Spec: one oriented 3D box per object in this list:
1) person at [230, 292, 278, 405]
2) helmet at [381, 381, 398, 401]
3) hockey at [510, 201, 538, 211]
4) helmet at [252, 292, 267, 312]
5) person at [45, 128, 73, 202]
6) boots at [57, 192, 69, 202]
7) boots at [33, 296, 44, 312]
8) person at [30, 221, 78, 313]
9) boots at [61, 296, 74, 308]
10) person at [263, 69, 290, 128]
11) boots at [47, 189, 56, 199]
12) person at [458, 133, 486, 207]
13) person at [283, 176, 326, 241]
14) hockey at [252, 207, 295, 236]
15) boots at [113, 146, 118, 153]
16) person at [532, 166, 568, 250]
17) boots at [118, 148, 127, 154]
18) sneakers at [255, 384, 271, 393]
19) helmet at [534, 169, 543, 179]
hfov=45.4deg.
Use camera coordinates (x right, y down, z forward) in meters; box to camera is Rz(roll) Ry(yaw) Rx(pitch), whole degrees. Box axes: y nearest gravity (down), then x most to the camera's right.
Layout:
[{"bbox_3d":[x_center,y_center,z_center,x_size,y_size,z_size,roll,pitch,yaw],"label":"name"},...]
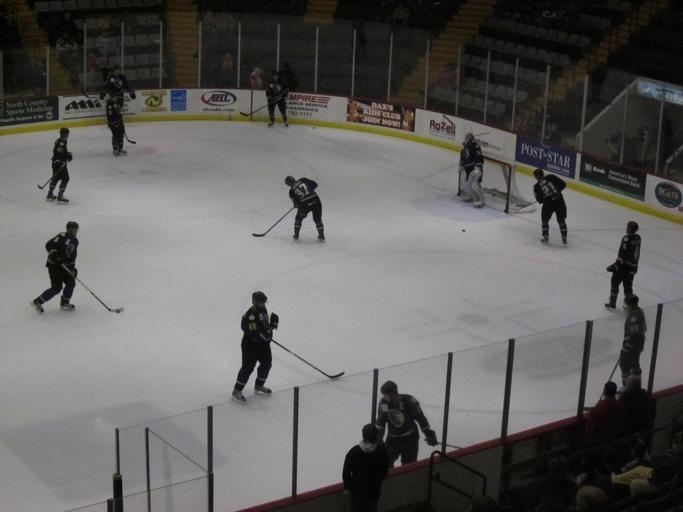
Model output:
[{"bbox_3d":[-1.289,1.390,12.138,0.719,1.672,0.744,-4,17,-9],"label":"person"},{"bbox_3d":[0.600,1.649,9.969,0.184,0.217,0.226,-1,14,5],"label":"helmet"},{"bbox_3d":[4.582,-1.226,20.567,0.509,0.193,0.305,-3,19,-1],"label":"hockey"},{"bbox_3d":[-1.208,0.679,12.009,0.171,0.233,0.256,-2,16,-3],"label":"helmet"},{"bbox_3d":[-6.881,-2.257,19.823,0.678,1.763,1.450,-7,17,-18],"label":"person"},{"bbox_3d":[-6.626,-1.420,19.624,0.413,0.274,0.136,0,26,-16],"label":"boots"},{"bbox_3d":[-5.408,0.877,14.617,0.126,0.288,0.098,-26,1,0],"label":"boots"},{"bbox_3d":[-5.108,0.200,14.690,0.839,1.626,0.652,-6,17,-17],"label":"person"},{"bbox_3d":[-4.932,0.849,14.883,0.325,0.240,0.122,1,27,-17],"label":"boots"},{"bbox_3d":[-2.092,-5.139,26.693,0.708,1.821,0.955,-3,17,-5],"label":"person"},{"bbox_3d":[-6.921,-1.489,19.626,0.118,0.230,0.238,18,47,9],"label":"boots"},{"bbox_3d":[3.288,-2.162,20.591,0.486,1.840,0.686,-9,18,-25],"label":"person"},{"bbox_3d":[-0.786,-1.073,18.065,0.816,1.486,0.984,-2,17,-2],"label":"person"},{"bbox_3d":[-1.596,-0.771,19.152,1.127,0.162,0.166,-32,-13,9],"label":"hockey"},{"bbox_3d":[-6.378,-2.995,23.110,0.168,0.248,0.167,3,7,6],"label":"boots"},{"bbox_3d":[4.680,-1.110,18.222,0.808,1.757,0.723,3,17,13],"label":"person"},{"bbox_3d":[-6.225,-3.020,23.357,0.191,0.189,0.471,-4,17,-10],"label":"boots"},{"bbox_3d":[-1.179,2.005,12.302,0.214,0.091,0.119,1,10,25],"label":"sneakers"},{"bbox_3d":[4.333,-1.788,17.900,0.190,0.265,0.356,3,17,13],"label":"helmet"}]
